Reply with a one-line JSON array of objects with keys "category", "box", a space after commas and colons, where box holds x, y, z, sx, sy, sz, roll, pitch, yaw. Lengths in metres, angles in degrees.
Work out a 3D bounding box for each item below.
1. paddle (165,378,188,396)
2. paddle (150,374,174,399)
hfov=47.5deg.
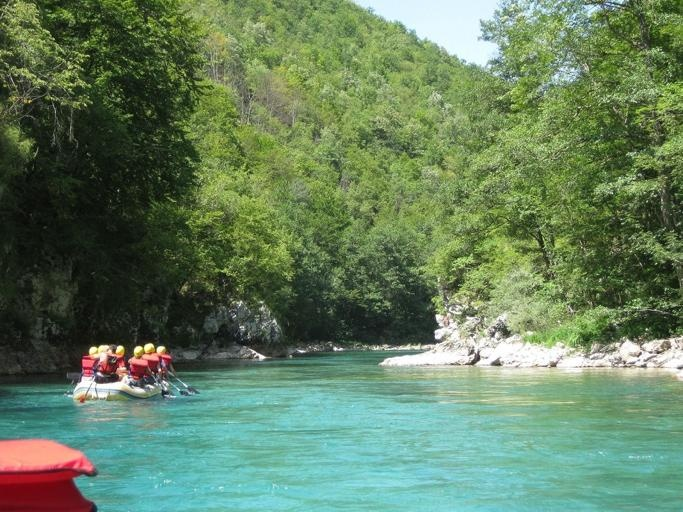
[{"category": "paddle", "box": [-6.769, 5.436, 31.960, 0.375, 0.319, 1.853, 10, 12, -34]}, {"category": "paddle", "box": [-6.954, 5.203, 30.501, 0.410, 0.201, 1.707, -21, 25, -17]}]
